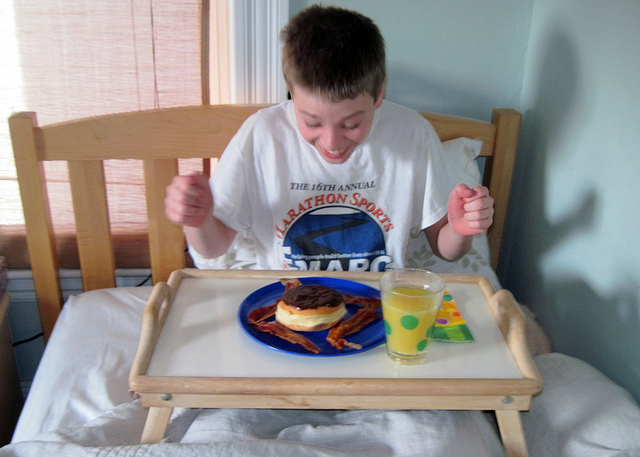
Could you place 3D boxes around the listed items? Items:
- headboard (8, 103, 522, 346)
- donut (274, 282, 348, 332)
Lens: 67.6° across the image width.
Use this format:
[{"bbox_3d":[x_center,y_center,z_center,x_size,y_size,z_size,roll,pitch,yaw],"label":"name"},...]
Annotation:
[{"bbox_3d":[-0.153,-0.038,1.385,1.295,0.830,0.073,-2,43,-7],"label":"headboard"},{"bbox_3d":[-0.027,0.175,1.039,0.114,0.072,0.122,14,26,37],"label":"donut"}]
